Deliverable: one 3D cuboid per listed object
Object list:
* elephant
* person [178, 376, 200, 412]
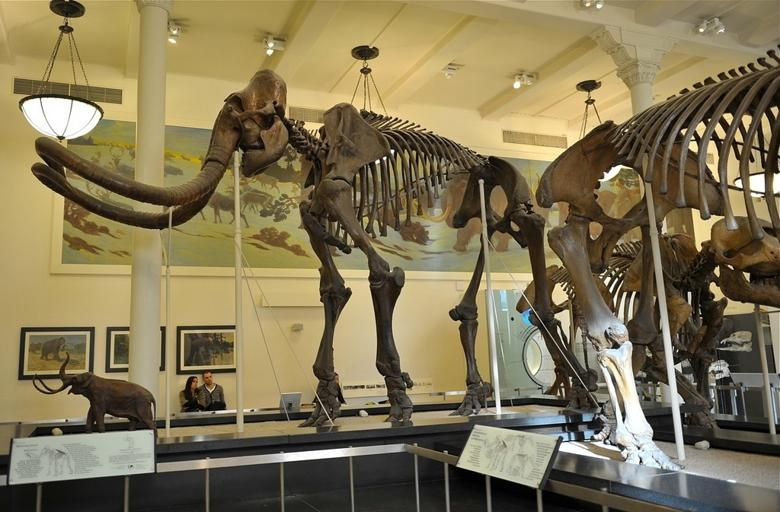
[{"bbox_3d":[-2.420,1.208,4.864,0.741,0.678,0.725,3,-10,-29],"label":"elephant"},{"bbox_3d":[-3.240,2.251,9.132,0.285,0.532,0.744,1,-9,-20],"label":"person"}]
